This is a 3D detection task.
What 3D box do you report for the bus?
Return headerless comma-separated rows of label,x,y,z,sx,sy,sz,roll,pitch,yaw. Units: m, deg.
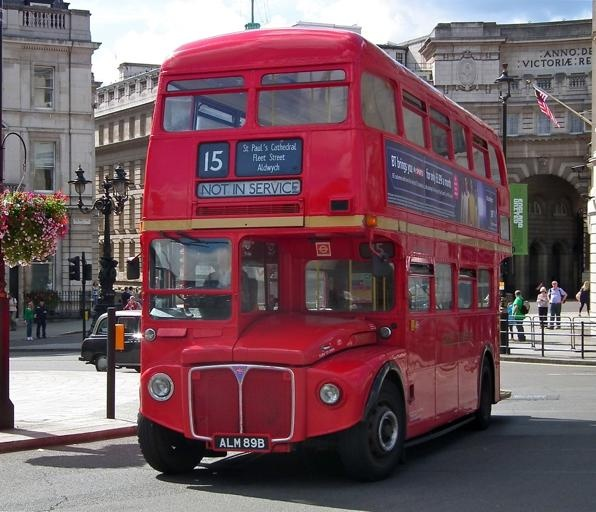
bus,0.632,0.013,11.464,2.542,4.505,4.889,3,-1,33
